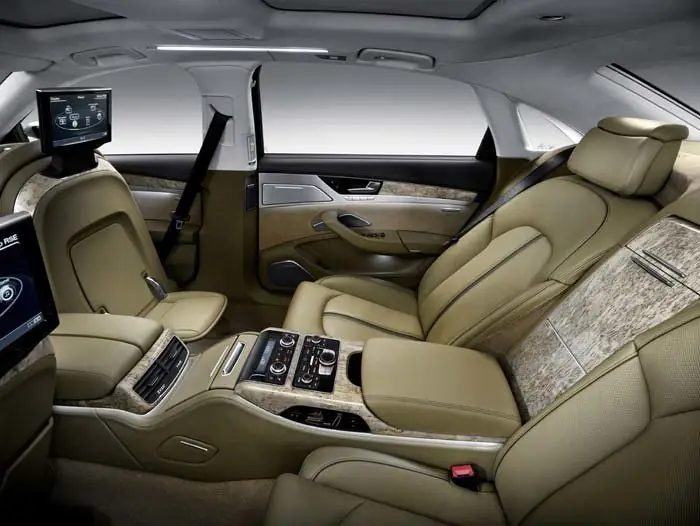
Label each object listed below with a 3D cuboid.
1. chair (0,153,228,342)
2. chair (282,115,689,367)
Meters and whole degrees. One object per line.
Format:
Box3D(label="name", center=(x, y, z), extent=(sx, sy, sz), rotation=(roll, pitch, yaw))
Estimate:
Box3D(label="chair", center=(-0.986, -0.093, 1.999), extent=(0.750, 0.850, 0.744), rotation=(6, 17, 2))
Box3D(label="chair", center=(0.411, -0.087, 1.734), extent=(1.301, 0.872, 0.863), rotation=(2, 20, 3))
